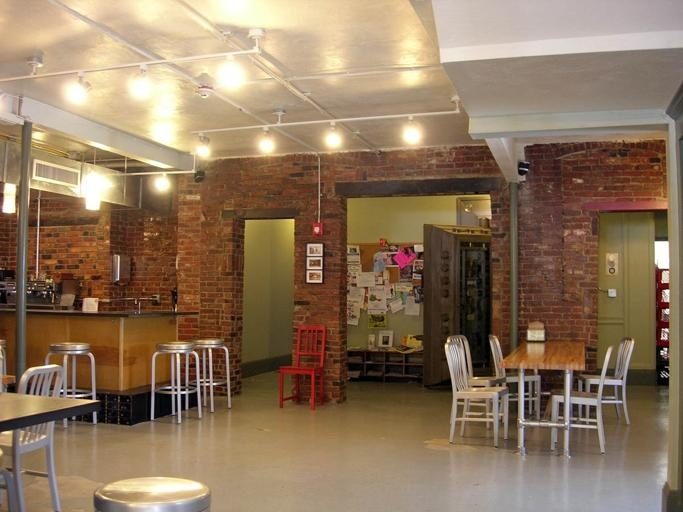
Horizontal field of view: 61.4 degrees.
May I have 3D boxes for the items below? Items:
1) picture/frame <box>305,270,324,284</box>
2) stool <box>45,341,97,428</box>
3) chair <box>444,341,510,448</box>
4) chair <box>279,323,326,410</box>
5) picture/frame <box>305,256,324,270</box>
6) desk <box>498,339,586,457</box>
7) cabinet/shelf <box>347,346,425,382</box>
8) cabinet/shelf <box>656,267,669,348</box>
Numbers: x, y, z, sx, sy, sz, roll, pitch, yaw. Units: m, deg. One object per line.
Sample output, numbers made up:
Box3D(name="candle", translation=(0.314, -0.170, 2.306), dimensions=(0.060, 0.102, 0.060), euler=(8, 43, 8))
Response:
Box3D(name="picture/frame", translation=(-0.410, 0.321, 9.036), dimensions=(0.266, 0.160, 0.020), euler=(0, -5, 17))
Box3D(name="stool", translation=(-3.468, 1.631, 7.420), dimensions=(0.687, 0.825, 0.634), euler=(-3, -5, 19))
Box3D(name="chair", translation=(1.624, 1.540, 6.800), dimensions=(0.907, 1.027, 0.830), euler=(-2, 3, -32))
Box3D(name="chair", translation=(-0.578, 1.647, 8.900), dimensions=(0.702, 1.176, 1.378), euler=(0, -1, -2))
Box3D(name="picture/frame", translation=(-0.408, 0.106, 9.042), dimensions=(0.252, 0.148, 0.017), euler=(0, -3, 15))
Box3D(name="desk", translation=(2.641, 1.622, 7.210), dimensions=(0.910, 0.955, 2.253), euler=(1, 1, 24))
Box3D(name="cabinet/shelf", translation=(0.841, 2.039, 10.906), dimensions=(1.495, 0.450, 0.378), euler=(-1, 1, 13))
Box3D(name="cabinet/shelf", translation=(5.623, 0.896, 10.123), dimensions=(0.163, 1.346, 0.309), euler=(0, -1, 36))
